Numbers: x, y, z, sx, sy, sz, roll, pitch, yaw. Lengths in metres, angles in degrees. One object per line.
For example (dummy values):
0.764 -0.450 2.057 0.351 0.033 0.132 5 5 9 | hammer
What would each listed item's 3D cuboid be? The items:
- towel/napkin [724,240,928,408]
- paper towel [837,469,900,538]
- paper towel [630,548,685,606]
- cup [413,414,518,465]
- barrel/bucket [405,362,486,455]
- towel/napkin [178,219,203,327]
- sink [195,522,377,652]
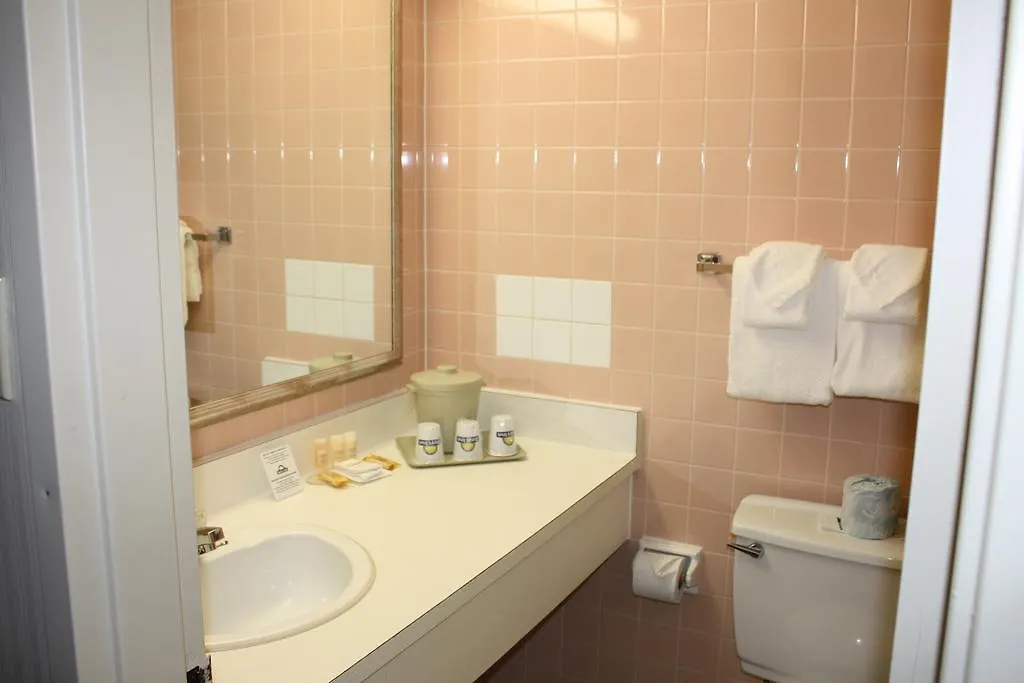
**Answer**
0.791 -0.049 1.847 0.401 0.376 0.109 3 2 23 | towel/napkin
0.884 0.397 1.890 0.134 0.152 0.140 4 4 39 | paper towel
0.433 0.681 2.158 0.146 0.136 0.112 4 5 28 | paper towel
-0.124 0.256 2.077 0.212 0.075 0.143 -1 8 -8 | cup
-0.189 0.163 2.135 0.253 0.254 0.220 -3 11 -22 | barrel/bucket
-0.704 -0.145 1.629 0.038 0.236 0.142 -1 15 -16 | towel/napkin
-0.449 0.529 1.513 0.322 0.171 0.401 -4 16 -24 | sink
